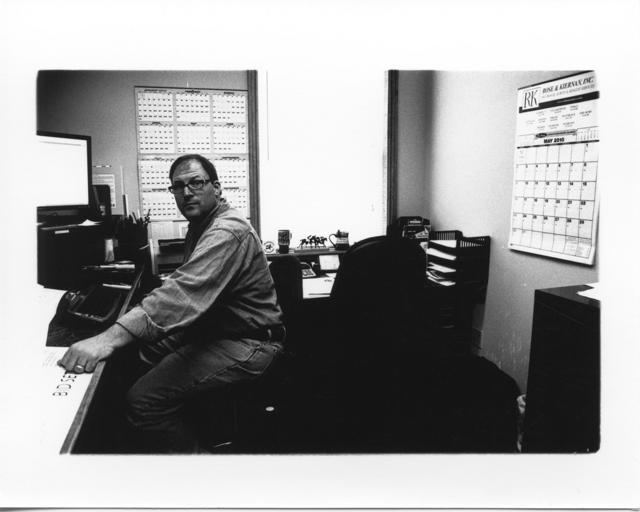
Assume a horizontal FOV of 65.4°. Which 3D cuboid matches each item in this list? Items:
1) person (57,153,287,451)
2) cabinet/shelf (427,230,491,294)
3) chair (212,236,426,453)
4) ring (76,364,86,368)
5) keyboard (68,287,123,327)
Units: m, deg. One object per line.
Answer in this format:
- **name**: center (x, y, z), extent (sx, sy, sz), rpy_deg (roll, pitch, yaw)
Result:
- **person**: center (-0.526, 0.278, 2.397), extent (0.839, 1.491, 0.771), rpy_deg (3, -4, -10)
- **cabinet/shelf**: center (0.663, 0.028, 2.385), extent (0.289, 0.294, 0.131), rpy_deg (2, 10, 12)
- **chair**: center (0.033, 0.334, 2.321), extent (0.811, 1.310, 0.702), rpy_deg (1, 2, 5)
- **ring**: center (-0.784, 0.365, 1.630), extent (0.031, 0.016, 0.006), rpy_deg (2, 10, 11)
- **keyboard**: center (-0.810, 0.185, 1.892), extent (0.220, 0.097, 0.300), rpy_deg (11, 2, -19)
